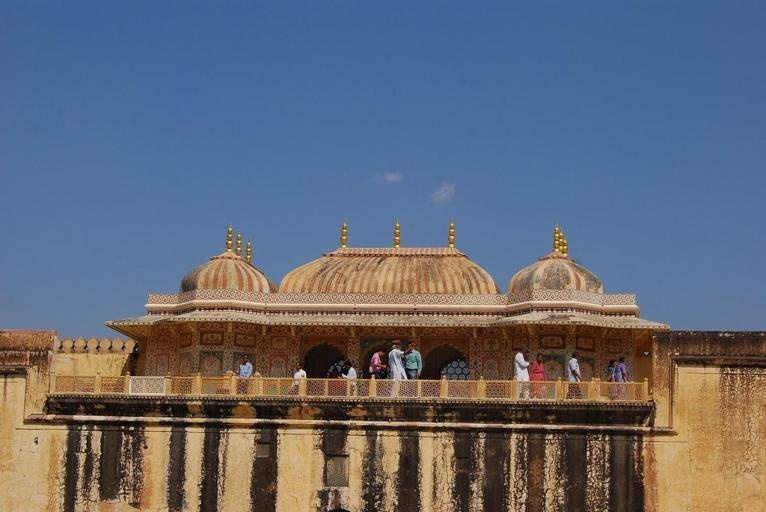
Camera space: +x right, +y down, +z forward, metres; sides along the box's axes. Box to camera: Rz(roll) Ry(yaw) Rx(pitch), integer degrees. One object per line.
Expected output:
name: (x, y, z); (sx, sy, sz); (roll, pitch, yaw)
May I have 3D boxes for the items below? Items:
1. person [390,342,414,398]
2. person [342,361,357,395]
person: (0.498, 3.820, 70.019); (0.643, 2.056, 0.758); (0, -17, 0)
person: (-1.276, 4.179, 70.645); (0.408, 1.115, 0.474); (0, -36, 2)
